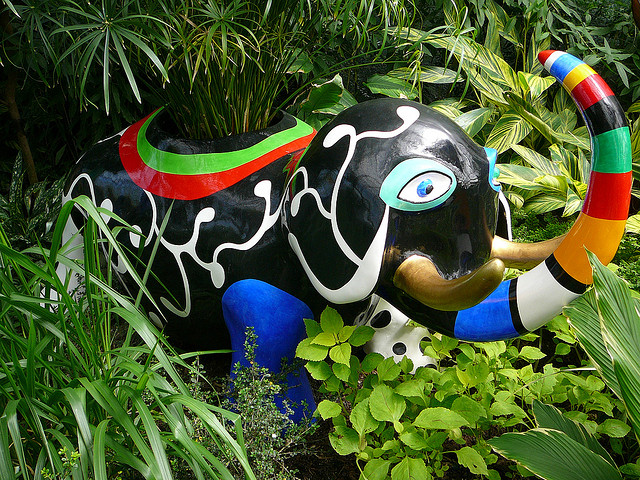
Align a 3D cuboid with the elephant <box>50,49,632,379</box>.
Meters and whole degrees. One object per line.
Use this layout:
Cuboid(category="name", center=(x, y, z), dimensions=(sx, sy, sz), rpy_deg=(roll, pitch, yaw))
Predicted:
Cuboid(category="elephant", center=(0.011, -0.114, 1.901), dimensions=(1.556, 1.090, 0.791), rpy_deg=(9, 29, 20))
